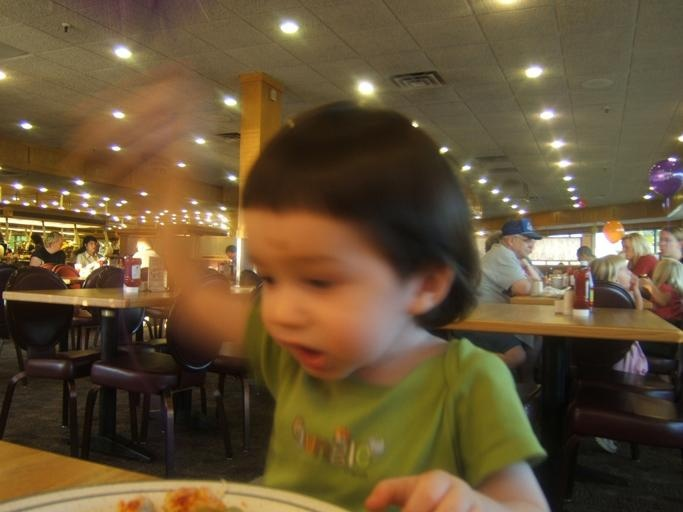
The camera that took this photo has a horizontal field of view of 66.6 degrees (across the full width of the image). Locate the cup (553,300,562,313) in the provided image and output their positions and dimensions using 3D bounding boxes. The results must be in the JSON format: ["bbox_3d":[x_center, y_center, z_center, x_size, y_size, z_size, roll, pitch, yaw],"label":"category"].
[{"bbox_3d":[1.117,0.260,2.647,0.056,0.065,0.057,0,-5,0],"label":"cup"}]

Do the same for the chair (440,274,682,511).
[{"bbox_3d":[0.944,0.435,2.723,1.149,1.131,1.174,1,1,20],"label":"chair"}]

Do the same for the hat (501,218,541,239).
[{"bbox_3d":[1.640,-0.245,4.746,0.289,0.153,0.188,4,2,11],"label":"hat"}]
